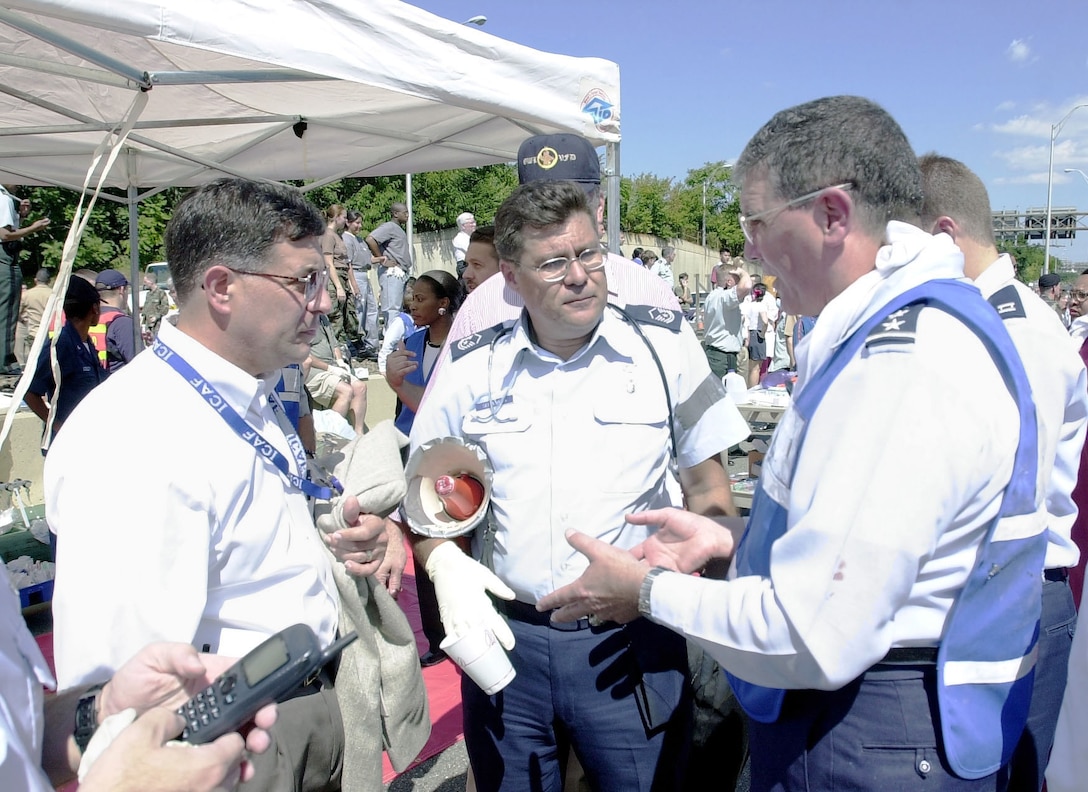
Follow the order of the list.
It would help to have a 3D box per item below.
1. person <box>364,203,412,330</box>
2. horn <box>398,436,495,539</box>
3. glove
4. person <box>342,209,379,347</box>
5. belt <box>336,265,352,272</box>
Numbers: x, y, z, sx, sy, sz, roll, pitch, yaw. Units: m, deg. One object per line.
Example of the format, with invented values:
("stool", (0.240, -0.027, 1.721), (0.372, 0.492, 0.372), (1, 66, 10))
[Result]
("person", (-2.097, -1.829, 12.203), (0.592, 2.028, 0.576), (9, 19, 12))
("horn", (-0.329, 0.315, 2.991), (0.311, 0.352, 0.225), (-3, 5, -1))
("glove", (-0.239, 0.635, 2.858), (0.271, 0.283, 0.303), (-4, 5, -10))
("person", (-2.423, -1.513, 11.812), (0.512, 1.797, 0.488), (-7, -2, 10))
("belt", (-2.393, -1.455, 10.422), (0.153, 0.057, 0.156), (-1, -1, 19))
